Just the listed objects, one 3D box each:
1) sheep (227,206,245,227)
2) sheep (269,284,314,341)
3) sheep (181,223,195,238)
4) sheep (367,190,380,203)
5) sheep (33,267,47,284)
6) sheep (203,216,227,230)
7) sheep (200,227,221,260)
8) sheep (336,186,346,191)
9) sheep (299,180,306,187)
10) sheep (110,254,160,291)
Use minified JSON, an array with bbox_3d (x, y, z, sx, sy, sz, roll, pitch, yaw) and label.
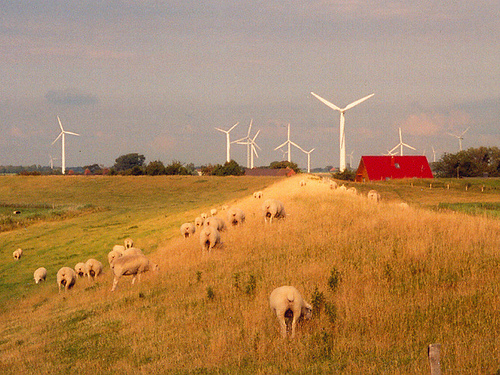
[{"bbox_3d":[-1.255,2.561,64.503,1.434,1.338,1.720,-10,9,8],"label":"sheep"},{"bbox_3d":[2.492,7.782,45.534,2.134,3.106,1.439,-10,8,-1],"label":"sheep"},{"bbox_3d":[-5.641,3.829,66.449,0.974,1.123,2.306,-9,9,10],"label":"sheep"},{"bbox_3d":[12.886,0.818,74.590,1.063,1.259,2.200,-4,-8,10],"label":"sheep"},{"bbox_3d":[-17.853,7.457,61.425,0.684,0.829,1.451,-7,10,22],"label":"sheep"},{"bbox_3d":[-2.998,3.014,61.985,0.851,1.390,2.000,1,2,22],"label":"sheep"},{"bbox_3d":[-3.022,4.097,56.418,1.567,1.978,1.745,-11,9,-5],"label":"sheep"},{"bbox_3d":[9.975,0.033,77.424,1.057,0.396,0.549,-7,10,-36],"label":"sheep"},{"bbox_3d":[5.774,-0.428,77.860,0.590,1.012,1.312,-1,-1,4],"label":"sheep"},{"bbox_3d":[-8.479,6.157,54.252,3.825,2.875,1.186,1,22,-18],"label":"sheep"}]
